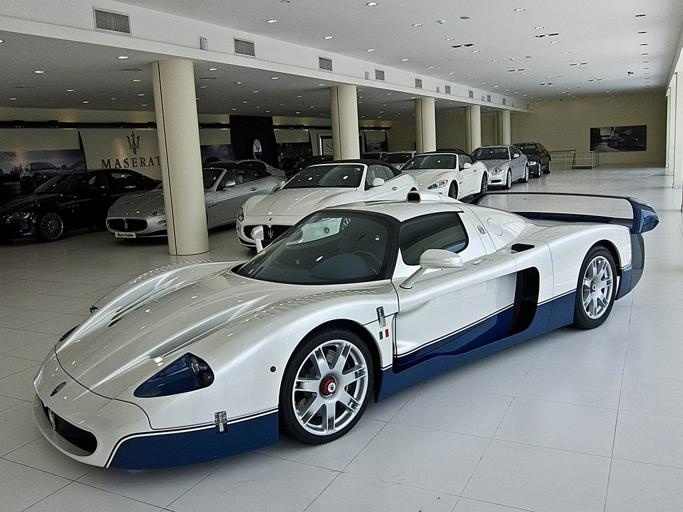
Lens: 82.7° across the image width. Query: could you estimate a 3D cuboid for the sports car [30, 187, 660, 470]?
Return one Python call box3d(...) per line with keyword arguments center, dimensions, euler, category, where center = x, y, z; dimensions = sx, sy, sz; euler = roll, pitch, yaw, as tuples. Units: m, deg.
box3d(center=(0.114, 0.297, 3.066), dimensions=(4.247, 1.375, 1.610), euler=(-12, 14, -33), category="sports car")
